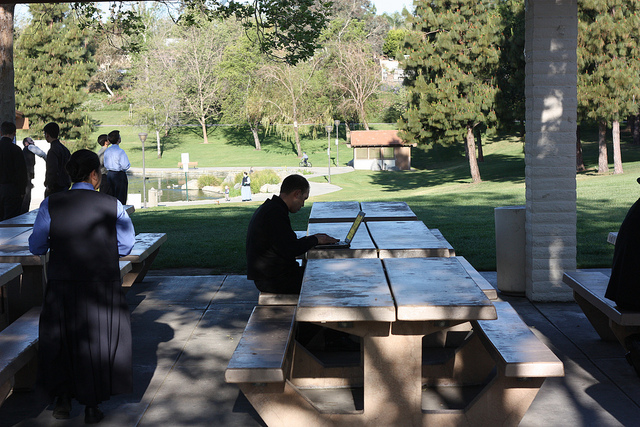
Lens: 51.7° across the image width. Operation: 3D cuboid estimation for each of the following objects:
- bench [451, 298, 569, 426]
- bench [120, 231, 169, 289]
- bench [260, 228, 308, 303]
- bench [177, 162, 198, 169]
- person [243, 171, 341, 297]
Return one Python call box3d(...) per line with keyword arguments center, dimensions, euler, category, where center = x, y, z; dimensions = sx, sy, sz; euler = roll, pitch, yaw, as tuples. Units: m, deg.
box3d(center=(2.082, 1.237, 7.382), dimensions=(1.016, 0.827, 2.438), euler=(1, 5, 2), category="bench")
box3d(center=(-2.722, 0.763, 10.286), dimensions=(0.443, 0.291, 1.023), euler=(-1, 13, -2), category="bench")
box3d(center=(-0.529, 0.526, 8.672), dimensions=(0.794, 0.598, 1.394), euler=(-2, 12, -3), category="bench")
box3d(center=(-12.192, -4.442, 61.256), dimensions=(1.439, 0.613, 6.065), euler=(-5, 7, -15), category="bench")
box3d(center=(-0.424, 0.570, 8.878), dimensions=(1.356, 2.089, 1.053), euler=(-6, 15, -33), category="person")
